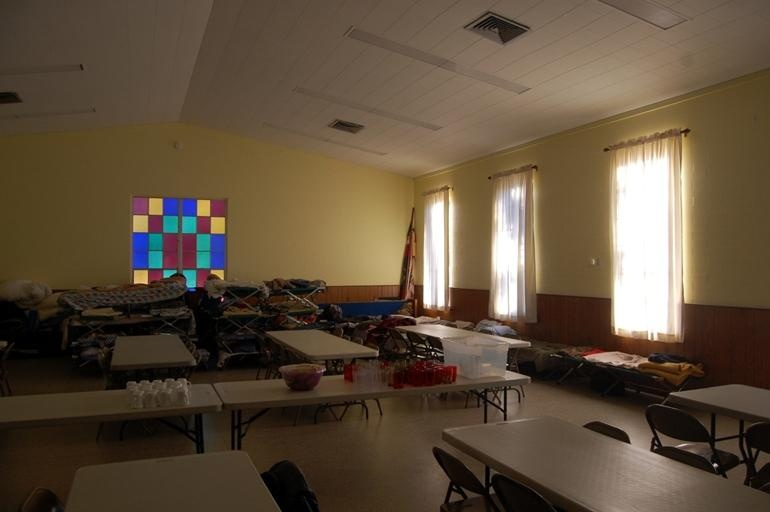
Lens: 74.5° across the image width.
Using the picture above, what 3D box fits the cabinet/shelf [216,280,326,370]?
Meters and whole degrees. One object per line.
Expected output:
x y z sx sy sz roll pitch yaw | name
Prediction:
-2.284 1.242 9.943 1.887 1.290 1.416 0 -1 -25 | cabinet/shelf
